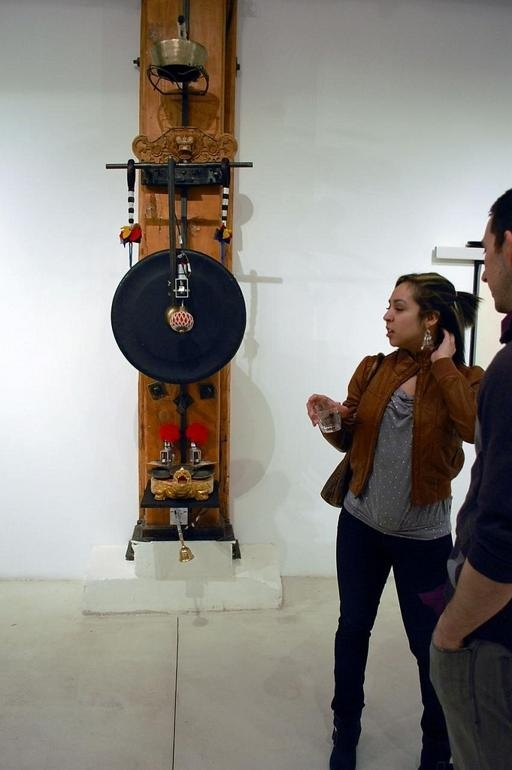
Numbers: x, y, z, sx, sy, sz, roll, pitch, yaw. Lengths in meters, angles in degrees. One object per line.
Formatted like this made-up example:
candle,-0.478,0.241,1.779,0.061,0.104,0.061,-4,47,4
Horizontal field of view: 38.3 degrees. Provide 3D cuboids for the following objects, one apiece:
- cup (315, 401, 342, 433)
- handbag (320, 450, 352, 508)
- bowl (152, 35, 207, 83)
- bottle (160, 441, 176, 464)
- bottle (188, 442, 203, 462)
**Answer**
cup,0.193,0.085,1.930,0.057,0.060,0.068,2,-16,1
handbag,0.232,0.246,2.026,0.078,0.270,0.033,6,49,6
bowl,-0.267,-1.116,2.541,0.182,0.116,0.201,2,9,0
bottle,-0.335,0.257,2.781,0.055,0.098,0.114,0,9,-8
bottle,-0.230,0.248,2.790,0.047,0.089,0.116,1,9,-5
